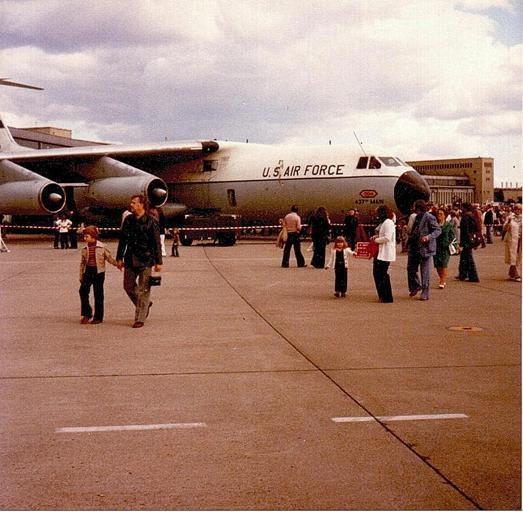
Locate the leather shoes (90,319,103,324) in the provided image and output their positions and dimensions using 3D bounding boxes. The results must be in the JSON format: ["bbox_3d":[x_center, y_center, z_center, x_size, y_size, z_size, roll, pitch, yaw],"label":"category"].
[{"bbox_3d":[-2.369,0.942,8.378,0.180,0.061,0.076,-3,-7,4],"label":"leather shoes"}]

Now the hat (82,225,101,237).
[{"bbox_3d":[-2.480,-0.385,8.437,0.173,0.197,0.205,0,-5,28],"label":"hat"}]

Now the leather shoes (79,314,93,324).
[{"bbox_3d":[-2.537,0.919,8.455,0.105,0.105,0.248,3,7,-8],"label":"leather shoes"}]

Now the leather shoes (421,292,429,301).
[{"bbox_3d":[2.977,0.740,10.630,0.148,0.144,0.118,2,-1,15],"label":"leather shoes"}]

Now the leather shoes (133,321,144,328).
[{"bbox_3d":[-1.715,0.947,8.103,0.154,0.081,0.215,-1,4,-11],"label":"leather shoes"}]
